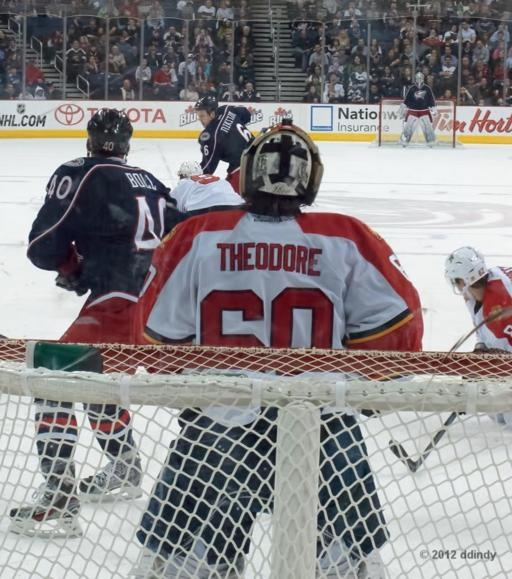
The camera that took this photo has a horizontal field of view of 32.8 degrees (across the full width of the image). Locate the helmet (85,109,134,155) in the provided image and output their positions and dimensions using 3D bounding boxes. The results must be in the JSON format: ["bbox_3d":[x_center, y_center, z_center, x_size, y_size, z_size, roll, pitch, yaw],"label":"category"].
[{"bbox_3d":[-0.500,-0.541,2.953,0.157,0.153,0.179,2,11,-8],"label":"helmet"}]

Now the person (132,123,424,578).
[{"bbox_3d":[0.006,0.190,1.868,0.678,1.031,0.781,0,16,10],"label":"person"}]

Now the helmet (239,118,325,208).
[{"bbox_3d":[0.066,-0.278,2.035,0.182,0.194,0.199,6,-4,9],"label":"helmet"}]

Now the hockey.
[{"bbox_3d":[0.297,0.272,1.543,0.149,0.123,0.037,5,-17,16],"label":"hockey"}]
